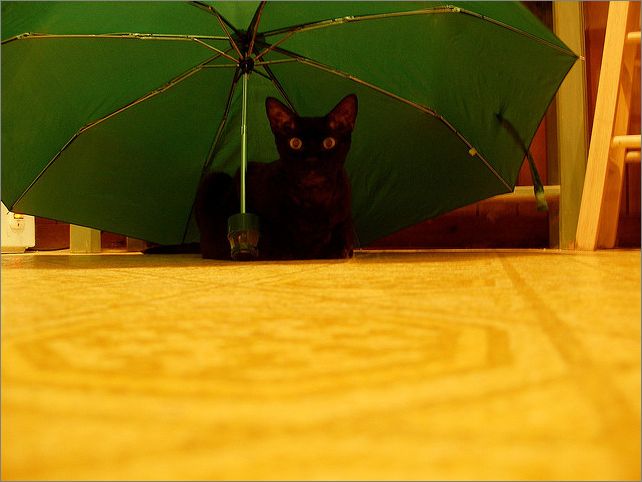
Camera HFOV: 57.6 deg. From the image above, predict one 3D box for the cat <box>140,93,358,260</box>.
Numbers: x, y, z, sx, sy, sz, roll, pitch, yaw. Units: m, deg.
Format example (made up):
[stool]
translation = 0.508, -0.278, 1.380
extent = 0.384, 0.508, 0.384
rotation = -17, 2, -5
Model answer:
[cat]
translation = -0.169, -0.194, 1.794
extent = 0.564, 0.503, 0.429
rotation = 4, 5, 36
